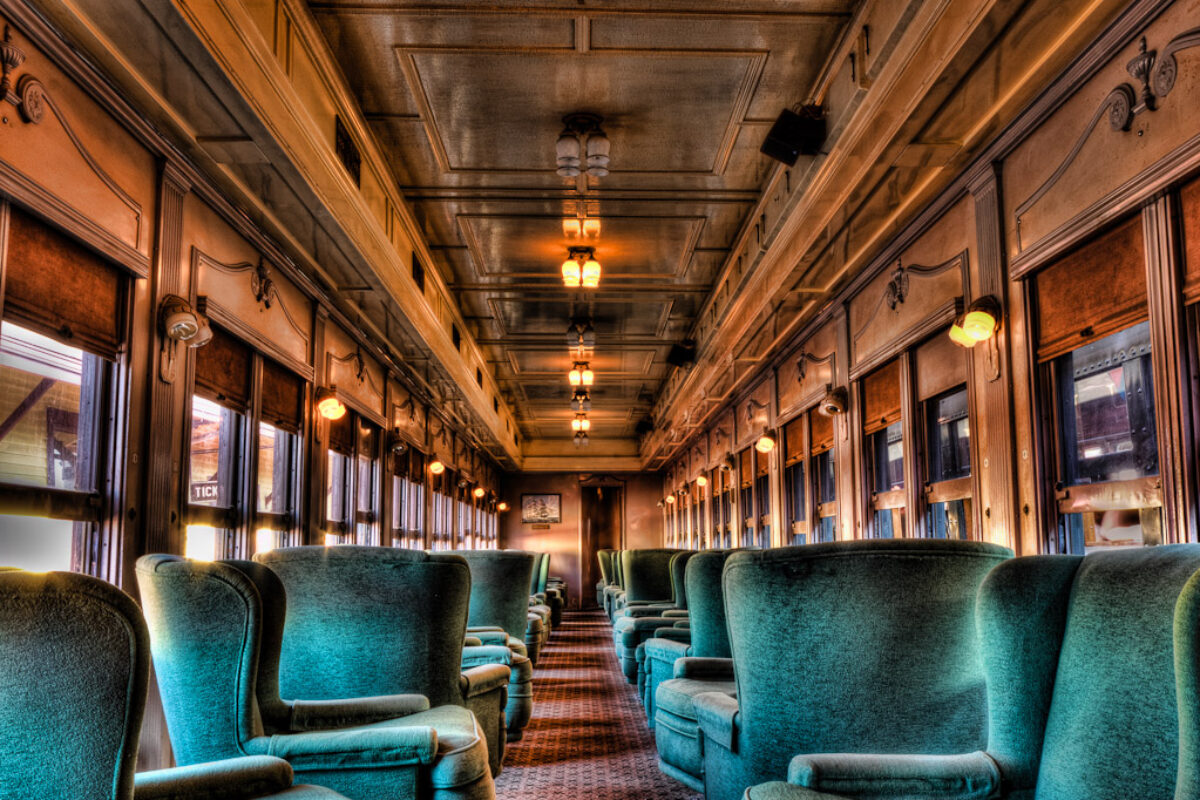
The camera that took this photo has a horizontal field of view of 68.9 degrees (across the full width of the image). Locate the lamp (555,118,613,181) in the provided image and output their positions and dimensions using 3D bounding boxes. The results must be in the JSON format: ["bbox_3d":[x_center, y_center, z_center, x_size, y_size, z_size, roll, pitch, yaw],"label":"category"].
[{"bbox_3d":[-0.135,-2.020,7.024,0.406,0.576,0.646,-1,-19,1],"label":"lamp"}]

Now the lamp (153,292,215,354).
[{"bbox_3d":[-2.600,-0.470,5.532,0.226,0.294,0.403,2,-20,-7],"label":"lamp"}]
